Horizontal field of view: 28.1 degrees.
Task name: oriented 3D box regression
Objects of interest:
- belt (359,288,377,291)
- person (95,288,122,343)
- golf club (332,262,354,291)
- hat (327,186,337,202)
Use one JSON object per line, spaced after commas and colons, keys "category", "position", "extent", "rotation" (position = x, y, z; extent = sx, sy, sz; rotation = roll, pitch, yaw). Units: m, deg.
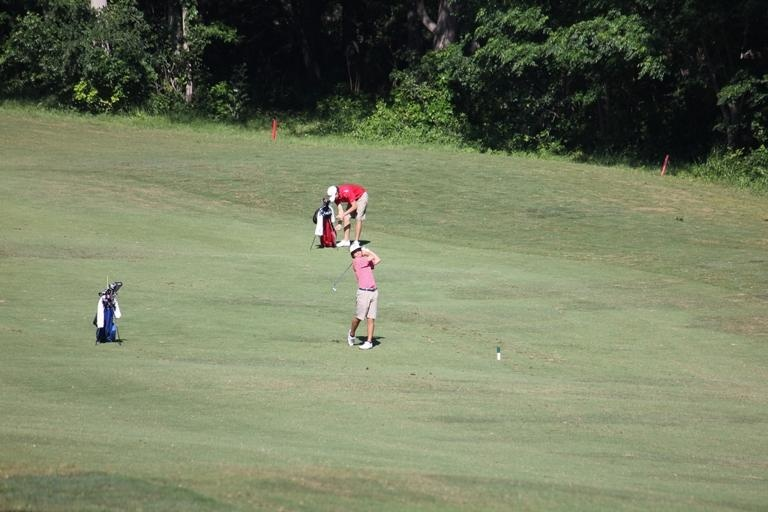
{"category": "belt", "position": [-0.516, 1.030, 49.294], "extent": [0.557, 0.100, 0.191], "rotation": [2, 11, -3]}
{"category": "person", "position": [-8.695, 1.815, 48.399], "extent": [0.763, 1.761, 0.646], "rotation": [2, 13, -9]}
{"category": "golf club", "position": [-1.429, 0.731, 53.524], "extent": [0.285, 0.068, 1.386], "rotation": [30, 33, 10]}
{"category": "hat", "position": [-1.820, -2.250, 55.307], "extent": [0.329, 0.638, 0.825], "rotation": [3, 11, -2]}
